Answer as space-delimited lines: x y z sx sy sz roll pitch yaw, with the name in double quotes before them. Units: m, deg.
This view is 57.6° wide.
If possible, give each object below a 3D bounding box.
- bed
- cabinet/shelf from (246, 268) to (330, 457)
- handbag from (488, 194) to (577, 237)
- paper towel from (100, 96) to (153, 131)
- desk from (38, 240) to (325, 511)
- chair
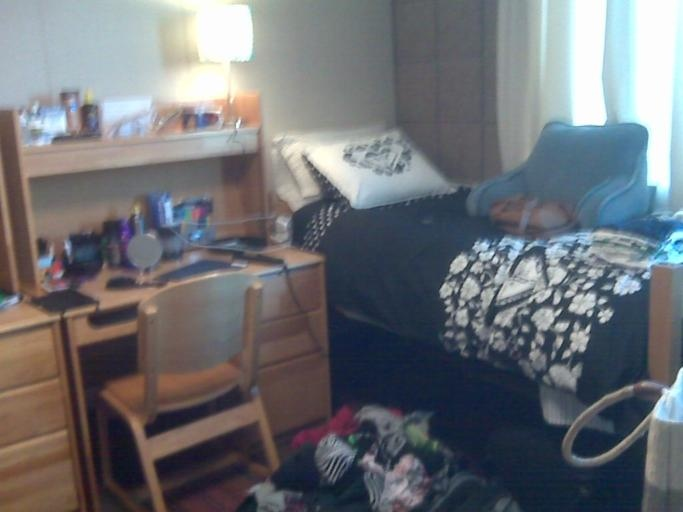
"bed" 0.325 0.038 1.561 0.304 0.358 0.961 -18 18 -37
"cabinet/shelf" -0.116 0.325 1.984 0.298 0.472 0.305 -12 -19 4
"handbag" 0.484 -0.110 1.565 0.100 0.057 0.157 -14 11 -25
"paper towel" -0.566 -0.373 1.679 0.140 0.099 0.078 -2 -6 0
"desk" -0.458 0.326 1.685 0.631 0.552 0.266 -14 21 -37
"chair" -0.439 0.366 1.681 0.403 0.701 0.392 -17 36 -39
